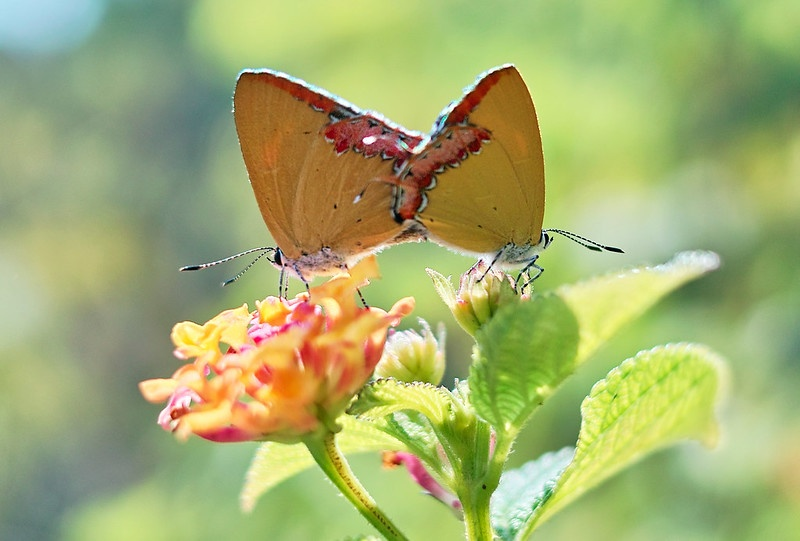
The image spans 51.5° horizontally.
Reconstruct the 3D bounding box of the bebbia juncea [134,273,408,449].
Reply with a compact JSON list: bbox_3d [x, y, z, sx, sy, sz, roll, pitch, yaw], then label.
[{"bbox_3d":[-0.394,0.279,2.623,0.613,0.310,0.627,-24,-8,9],"label":"bebbia juncea"}]

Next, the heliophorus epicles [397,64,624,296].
[{"bbox_3d":[0.270,-0.282,3.046,0.600,0.640,0.290,-20,-9,13],"label":"heliophorus epicles"}]

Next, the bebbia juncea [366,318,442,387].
[{"bbox_3d":[0.021,0.244,2.908,0.203,0.269,0.166,-3,7,-31],"label":"bebbia juncea"}]

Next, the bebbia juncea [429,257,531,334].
[{"bbox_3d":[0.258,0.079,2.789,0.260,0.196,0.088,-19,-9,3],"label":"bebbia juncea"}]
